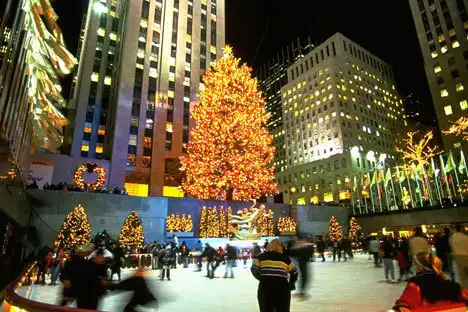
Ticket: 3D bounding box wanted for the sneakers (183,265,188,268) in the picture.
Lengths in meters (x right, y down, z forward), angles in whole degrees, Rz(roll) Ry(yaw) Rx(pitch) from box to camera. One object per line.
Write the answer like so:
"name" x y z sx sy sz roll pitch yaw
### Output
"sneakers" -4.035 9.094 25.500 0.384 0.275 0.130 7 -23 6
